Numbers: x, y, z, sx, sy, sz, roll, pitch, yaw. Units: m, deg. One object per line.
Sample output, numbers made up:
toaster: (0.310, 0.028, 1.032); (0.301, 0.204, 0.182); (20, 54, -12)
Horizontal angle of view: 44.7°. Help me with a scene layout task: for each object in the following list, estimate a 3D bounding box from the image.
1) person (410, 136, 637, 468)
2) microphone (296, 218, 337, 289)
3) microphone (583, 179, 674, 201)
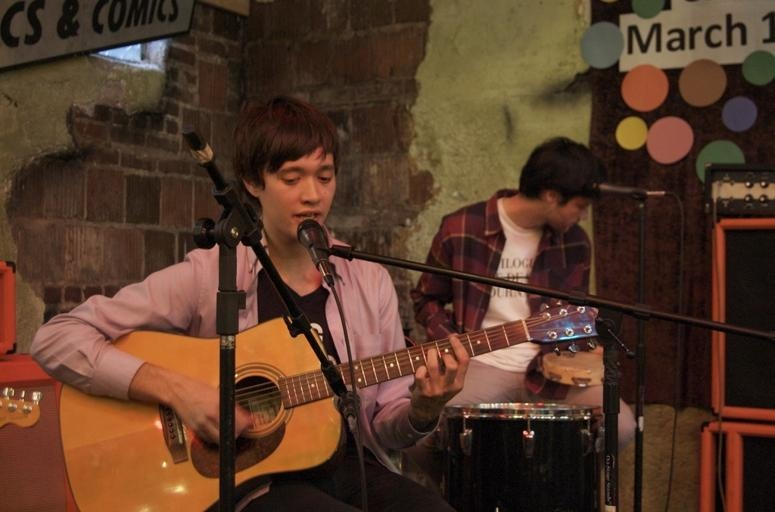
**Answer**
person: (0.855, 0.310, 5.627); (1.181, 2.067, 1.163); (0, 14, -18)
microphone: (-0.296, -0.024, 4.003); (0.097, 0.120, 0.378); (-1, 37, -14)
microphone: (1.433, -0.392, 5.525); (0.448, 0.087, 0.111); (5, -39, -21)
